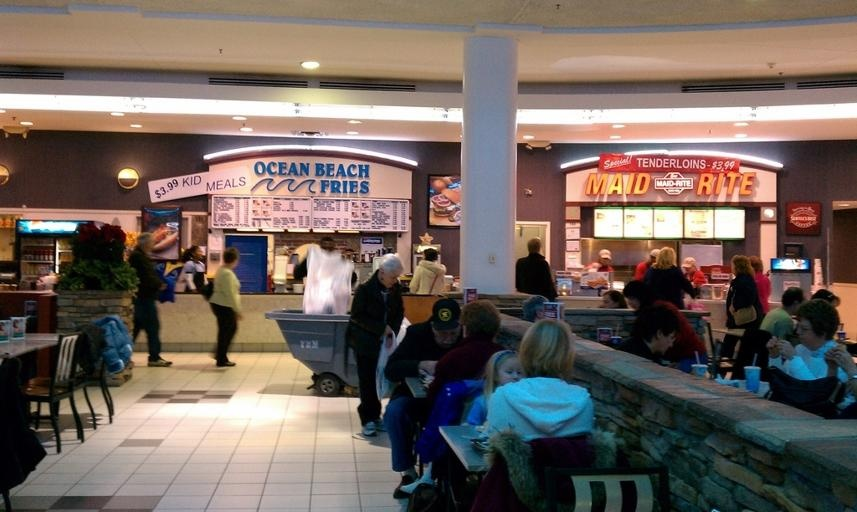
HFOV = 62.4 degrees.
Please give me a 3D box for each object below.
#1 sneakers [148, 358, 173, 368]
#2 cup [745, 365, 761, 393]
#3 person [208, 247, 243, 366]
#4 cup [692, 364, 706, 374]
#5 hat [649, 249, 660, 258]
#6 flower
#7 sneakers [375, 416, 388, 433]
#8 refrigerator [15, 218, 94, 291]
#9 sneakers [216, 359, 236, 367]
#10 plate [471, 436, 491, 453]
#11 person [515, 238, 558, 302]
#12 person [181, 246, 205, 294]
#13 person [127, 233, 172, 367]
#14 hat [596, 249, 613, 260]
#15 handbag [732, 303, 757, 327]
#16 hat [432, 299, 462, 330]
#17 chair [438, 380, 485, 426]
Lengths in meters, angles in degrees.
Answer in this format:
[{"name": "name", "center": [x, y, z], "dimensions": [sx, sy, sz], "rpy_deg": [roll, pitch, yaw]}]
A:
[{"name": "sneakers", "center": [-4.488, 1.802, 11.901], "dimensions": [0.457, 0.149, 0.147], "rpy_deg": [1, -2, -11]}, {"name": "cup", "center": [2.840, 1.072, 6.162], "dimensions": [0.132, 0.220, 0.350], "rpy_deg": [8, 11, 27]}, {"name": "person", "center": [-3.438, 0.882, 11.860], "dimensions": [0.514, 2.015, 0.632], "rpy_deg": [0, 11, -16]}, {"name": "cup", "center": [2.503, 1.037, 6.461], "dimensions": [0.126, 0.068, 0.084], "rpy_deg": [-1, 1, 7]}, {"name": "hat", "center": [4.723, -0.087, 14.663], "dimensions": [0.313, 0.109, 0.383], "rpy_deg": [0, -4, 11]}, {"name": "flower", "center": [-5.141, -0.004, 11.016], "dimensions": [1.372, 1.044, 1.045], "rpy_deg": [2, -1, -17]}, {"name": "sneakers", "center": [-0.601, 2.132, 8.887], "dimensions": [0.182, 0.196, 0.517], "rpy_deg": [1, -14, -4]}, {"name": "refrigerator", "center": [-7.123, -0.013, 13.274], "dimensions": [1.884, 1.377, 0.574], "rpy_deg": [1, -1, -3]}, {"name": "sneakers", "center": [-3.462, 1.821, 12.003], "dimensions": [0.357, 0.104, 0.109], "rpy_deg": [0, 1, -12]}, {"name": "plate", "center": [0.439, 1.504, 5.659], "dimensions": [0.145, 0.057, 0.194], "rpy_deg": [-12, 11, -41]}, {"name": "person", "center": [1.688, 0.189, 10.961], "dimensions": [0.722, 0.934, 0.456], "rpy_deg": [5, 11, 15]}, {"name": "person", "center": [-4.242, 0.248, 12.829], "dimensions": [0.351, 0.852, 0.739], "rpy_deg": [-5, 13, -39]}, {"name": "person", "center": [-4.583, 0.762, 11.572], "dimensions": [0.624, 2.223, 0.743], "rpy_deg": [-1, 11, -19]}, {"name": "hat", "center": [3.569, -0.040, 14.210], "dimensions": [0.316, 0.136, 0.430], "rpy_deg": [1, 2, -1]}, {"name": "handbag", "center": [4.917, 0.890, 10.885], "dimensions": [0.395, 0.313, 0.155], "rpy_deg": [-10, 10, 36]}, {"name": "hat", "center": [0.181, 0.593, 7.139], "dimensions": [0.272, 0.171, 0.350], "rpy_deg": [-2, 13, -2]}, {"name": "chair", "center": [0.303, 1.332, 6.311], "dimensions": [0.564, 0.406, 0.276], "rpy_deg": [1, 1, 17]}]
